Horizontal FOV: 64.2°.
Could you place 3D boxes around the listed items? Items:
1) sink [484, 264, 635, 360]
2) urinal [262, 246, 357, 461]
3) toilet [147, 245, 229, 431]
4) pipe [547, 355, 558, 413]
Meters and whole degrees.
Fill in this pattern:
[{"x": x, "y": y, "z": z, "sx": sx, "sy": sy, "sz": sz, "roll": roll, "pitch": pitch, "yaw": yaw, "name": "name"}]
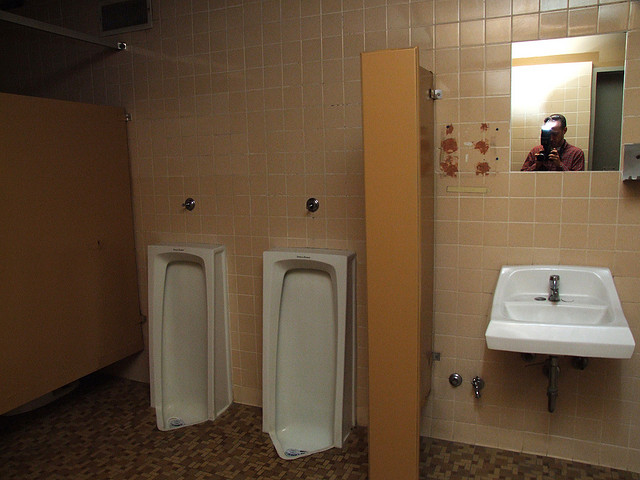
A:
[{"x": 1.222, "y": 0.346, "z": 2.648, "sx": 0.681, "sy": 0.316, "sz": 0.607, "roll": 3, "pitch": 12, "yaw": 18, "name": "sink"}, {"x": -0.026, "y": 0.700, "z": 3.291, "sx": 0.495, "sy": 1.438, "sz": 0.494, "roll": 0, "pitch": 6, "yaw": 20, "name": "urinal"}, {"x": -0.927, "y": 0.636, "z": 3.440, "sx": 0.586, "sy": 1.160, "sz": 0.392, "roll": -1, "pitch": 10, "yaw": -4, "name": "toilet"}, {"x": 1.280, "y": 0.784, "z": 2.818, "sx": 0.049, "sy": 0.352, "sz": 0.133, "roll": 4, "pitch": 11, "yaw": 25, "name": "pipe"}]
